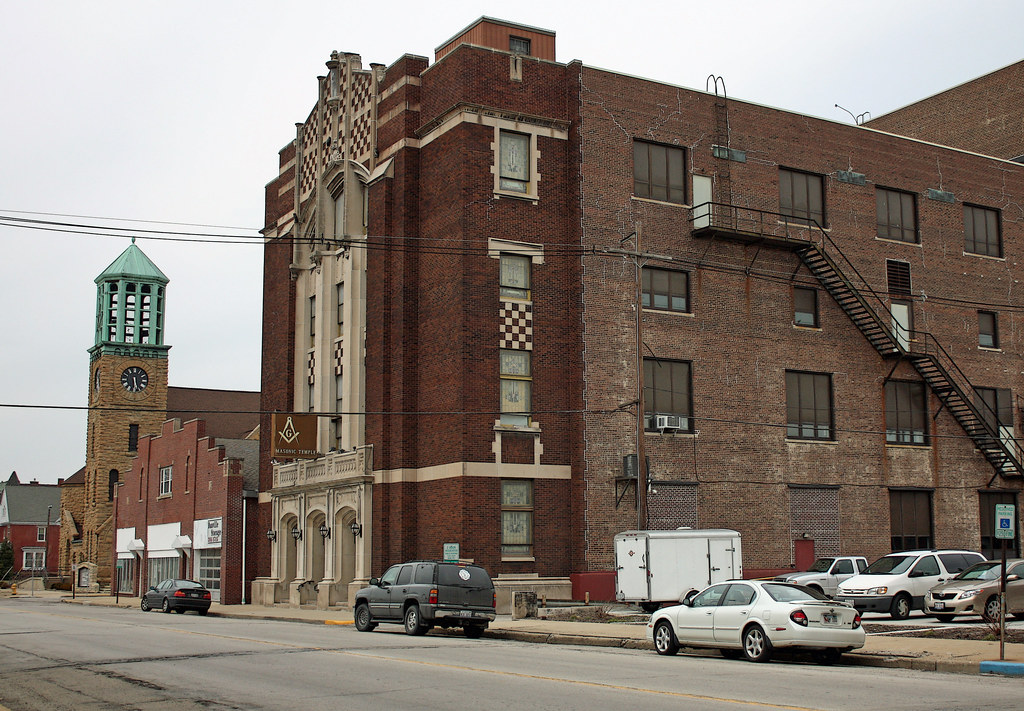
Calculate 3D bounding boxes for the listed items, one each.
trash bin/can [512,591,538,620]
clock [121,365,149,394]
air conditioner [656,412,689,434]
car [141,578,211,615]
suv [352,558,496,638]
[{"bbox_3d":[0.452,9.944,60.234,1.335,1.274,0.988,-1,-4,17],"label":"trash bin/can"},{"bbox_3d":[-29.636,1.927,117.773,2.199,2.117,0.114,3,-13,-24],"label":"clock"},{"bbox_3d":[7.110,2.979,66.190,1.808,0.843,0.607,9,-18,-36],"label":"air conditioner"},{"bbox_3d":[-16.411,11.953,74.232,1.535,1.921,4.514,10,-19,-38],"label":"car"},{"bbox_3d":[-3.559,9.072,55.848,5.729,2.609,2.118,-11,-17,33],"label":"suv"}]
